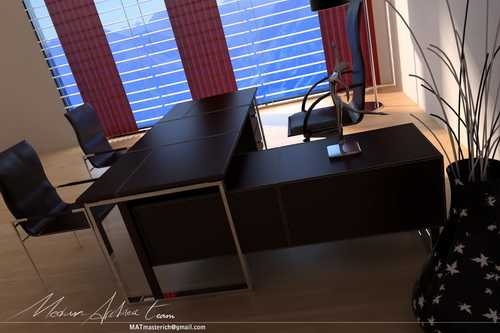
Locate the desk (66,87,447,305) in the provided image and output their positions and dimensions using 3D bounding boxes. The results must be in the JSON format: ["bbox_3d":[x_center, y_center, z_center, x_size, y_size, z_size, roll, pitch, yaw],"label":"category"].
[{"bbox_3d":[0.086,0.126,3.243,1.903,0.706,1.982,-7,25,4],"label":"desk"}]
